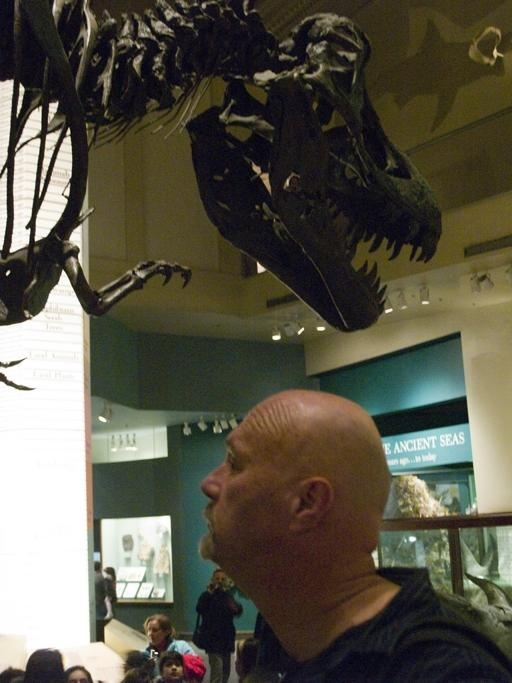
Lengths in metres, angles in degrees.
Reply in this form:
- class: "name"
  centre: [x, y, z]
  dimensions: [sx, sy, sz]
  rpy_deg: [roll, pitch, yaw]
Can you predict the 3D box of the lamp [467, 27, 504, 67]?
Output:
- class: "lamp"
  centre: [2.782, -3.551, 7.124]
  dimensions: [0.329, 0.285, 0.420]
  rpy_deg: [-45, -15, -46]
